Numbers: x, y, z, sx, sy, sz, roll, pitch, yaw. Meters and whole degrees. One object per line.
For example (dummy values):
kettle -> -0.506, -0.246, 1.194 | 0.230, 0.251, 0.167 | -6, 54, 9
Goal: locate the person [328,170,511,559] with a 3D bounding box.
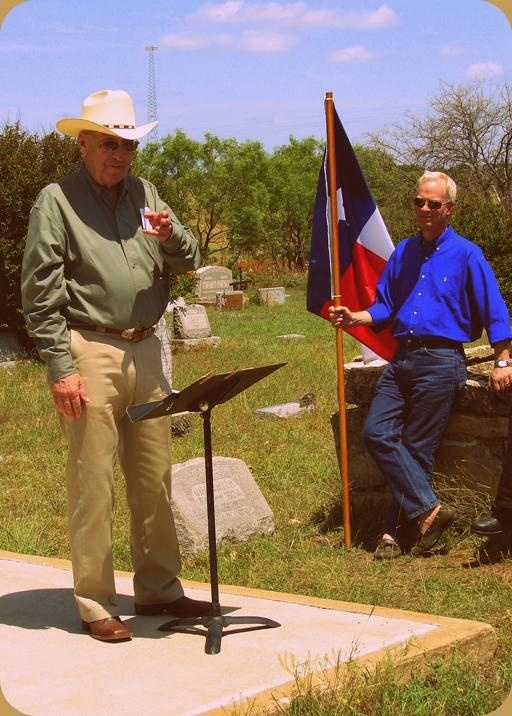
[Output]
person -> 1.055, 0.038, 4.559 | 1.016, 2.313, 0.382 | -2, -3, 25

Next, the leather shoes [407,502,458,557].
leather shoes -> 1.100, 1.107, 4.622 | 0.222, 0.454, 0.163 | 14, 39, -9

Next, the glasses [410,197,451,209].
glasses -> 1.034, -0.930, 4.473 | 0.172, 0.088, 0.078 | -2, -4, 24

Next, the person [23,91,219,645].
person -> -0.569, -0.001, 3.099 | 0.484, 2.244, 0.735 | -2, -4, 34

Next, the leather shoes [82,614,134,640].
leather shoes -> -0.573, 1.049, 2.900 | 0.076, 0.078, 0.200 | 4, -8, -43
